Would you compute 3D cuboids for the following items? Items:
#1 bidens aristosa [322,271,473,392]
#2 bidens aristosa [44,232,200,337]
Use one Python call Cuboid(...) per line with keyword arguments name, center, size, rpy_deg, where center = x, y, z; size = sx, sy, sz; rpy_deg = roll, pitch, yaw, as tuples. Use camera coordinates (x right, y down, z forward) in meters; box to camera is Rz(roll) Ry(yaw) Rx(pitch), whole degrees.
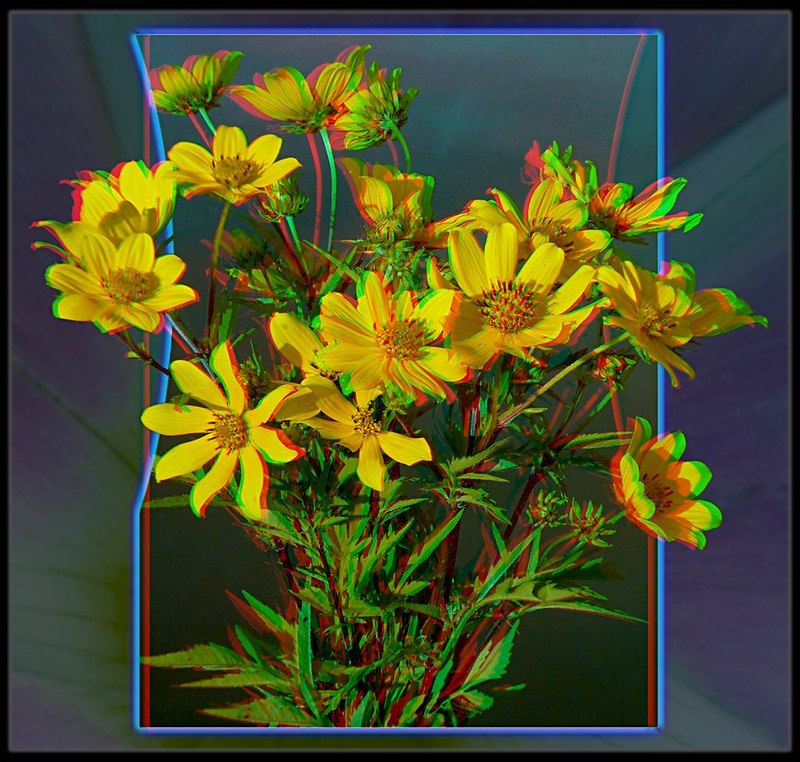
Cuboid(name="bidens aristosa", center=(-0.015, -0.044, 0.823), size=(0.155, 0.082, 0.094), rpy_deg=(11, 42, 0))
Cuboid(name="bidens aristosa", center=(-0.278, -0.089, 0.804), size=(0.133, 0.117, 0.114), rpy_deg=(-6, 16, -19))
